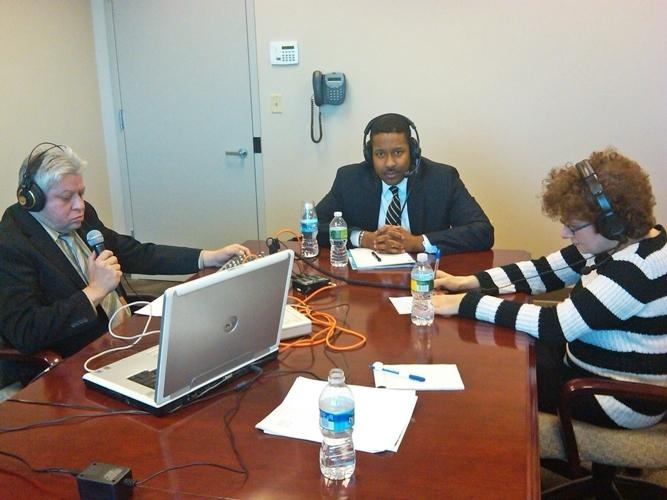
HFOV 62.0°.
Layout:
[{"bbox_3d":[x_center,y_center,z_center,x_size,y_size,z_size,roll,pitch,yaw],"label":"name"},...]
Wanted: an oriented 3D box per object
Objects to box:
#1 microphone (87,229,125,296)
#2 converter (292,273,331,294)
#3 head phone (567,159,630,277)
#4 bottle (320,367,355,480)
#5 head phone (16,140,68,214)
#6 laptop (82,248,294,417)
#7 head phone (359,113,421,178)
[{"bbox_3d":[-0.903,0.029,2.174,0.062,0.208,0.054,-18,-9,-5],"label":"microphone"},{"bbox_3d":[-0.093,0.127,2.230,0.089,0.032,0.094,-11,19,-36],"label":"converter"},{"bbox_3d":[0.931,-0.139,1.901,0.085,0.248,0.262,-25,-17,21],"label":"head phone"},{"bbox_3d":[0.006,0.416,1.351,0.091,0.215,0.173,-4,20,0],"label":"bottle"},{"bbox_3d":[-1.168,-0.292,2.197,0.159,0.247,0.229,0,21,12],"label":"head phone"},{"bbox_3d":[-0.434,0.193,1.688,0.550,0.369,0.474,-11,20,-40],"label":"laptop"},{"bbox_3d":[0.302,-0.545,2.861,0.289,0.297,0.207,-2,21,7],"label":"head phone"}]
